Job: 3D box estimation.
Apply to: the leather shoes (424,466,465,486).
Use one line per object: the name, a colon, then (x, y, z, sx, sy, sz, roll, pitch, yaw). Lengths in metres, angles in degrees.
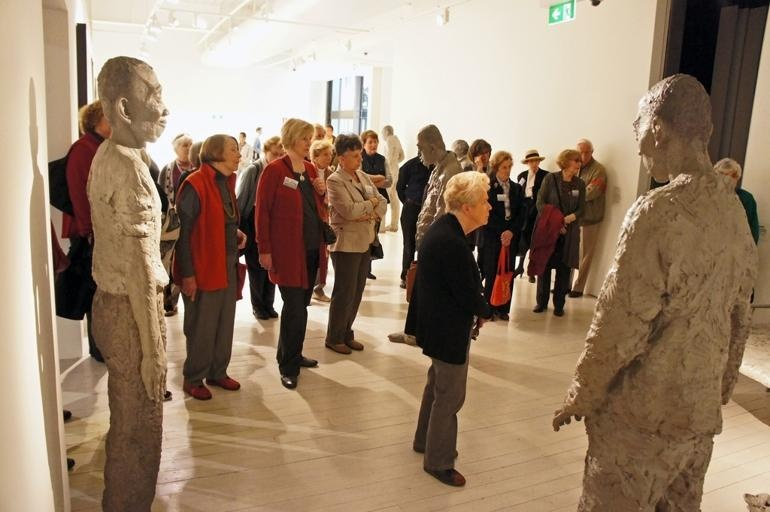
leather shoes: (0.377, 1.408, 4.153, 0.269, 0.116, 0.094, 4, 12, 37)

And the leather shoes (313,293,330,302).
leather shoes: (-0.725, 0.471, 7.212, 0.213, 0.079, 0.086, 0, 7, 33)

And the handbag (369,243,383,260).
handbag: (-0.084, -0.039, 5.969, 0.111, 0.199, 0.203, -4, 13, -12)

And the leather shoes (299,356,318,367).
leather shoes: (-0.649, 0.900, 5.403, 0.174, 0.074, 0.061, -8, 15, -35)

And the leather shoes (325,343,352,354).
leather shoes: (-0.417, 0.811, 5.730, 0.222, 0.067, 0.088, 4, 10, 30)

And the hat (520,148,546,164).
hat: (1.883, -1.259, 8.164, 0.244, 0.098, 0.266, -10, -4, 0)

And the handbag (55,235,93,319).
handbag: (-2.181, 0.166, 4.469, 0.252, 0.584, 0.209, -4, 11, -28)

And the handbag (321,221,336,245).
handbag: (-0.463, -0.180, 5.172, 0.081, 0.152, 0.157, -13, 12, 3)

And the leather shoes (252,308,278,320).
leather shoes: (-1.232, 0.598, 6.513, 0.162, 0.060, 0.121, 6, 7, 36)

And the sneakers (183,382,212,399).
sneakers: (-1.423, 1.006, 4.827, 0.214, 0.079, 0.100, 6, 12, 30)

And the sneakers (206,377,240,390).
sneakers: (-1.242, 1.000, 4.969, 0.269, 0.115, 0.101, 4, 3, 4)

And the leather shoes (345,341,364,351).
leather shoes: (-0.277, 0.817, 5.785, 0.162, 0.065, 0.066, 5, 11, 37)
